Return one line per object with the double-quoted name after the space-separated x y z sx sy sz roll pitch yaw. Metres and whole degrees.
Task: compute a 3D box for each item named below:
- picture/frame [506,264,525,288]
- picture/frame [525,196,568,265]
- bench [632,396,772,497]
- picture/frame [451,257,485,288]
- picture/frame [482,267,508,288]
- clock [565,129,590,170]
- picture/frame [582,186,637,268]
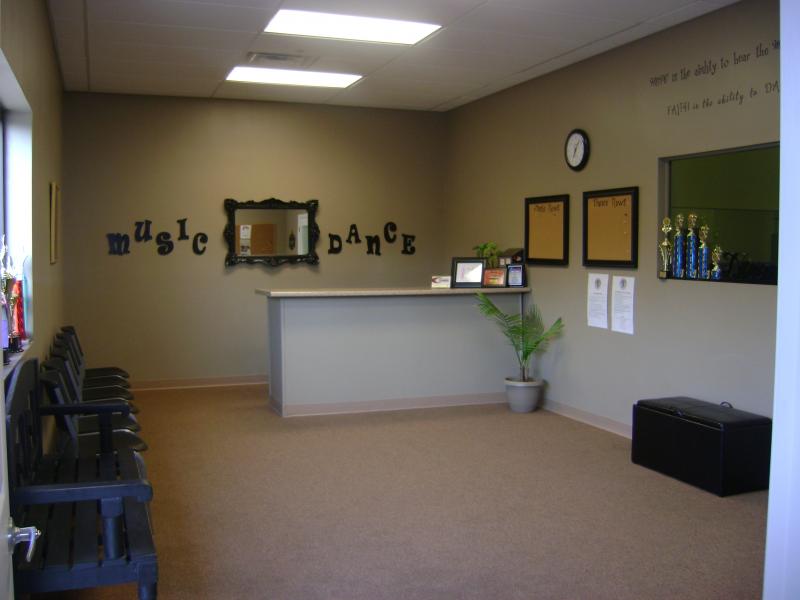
1.278 -0.285 6.386 0.226 0.238 0.083 3 5 38 "picture/frame"
1.541 -0.740 6.008 0.059 0.826 0.675 1 1 -27 "picture/frame"
2.133 1.047 4.200 0.904 0.512 0.386 5 7 44 "bench"
0.753 -0.299 6.344 0.278 0.332 0.031 1 -11 5 "picture/frame"
1.028 -0.247 6.327 0.185 0.220 0.071 0 -9 15 "picture/frame"
1.726 -1.470 5.601 0.039 0.433 0.392 -1 3 -17 "clock"
1.925 -0.669 5.315 0.095 0.702 0.641 -2 5 -21 "picture/frame"
